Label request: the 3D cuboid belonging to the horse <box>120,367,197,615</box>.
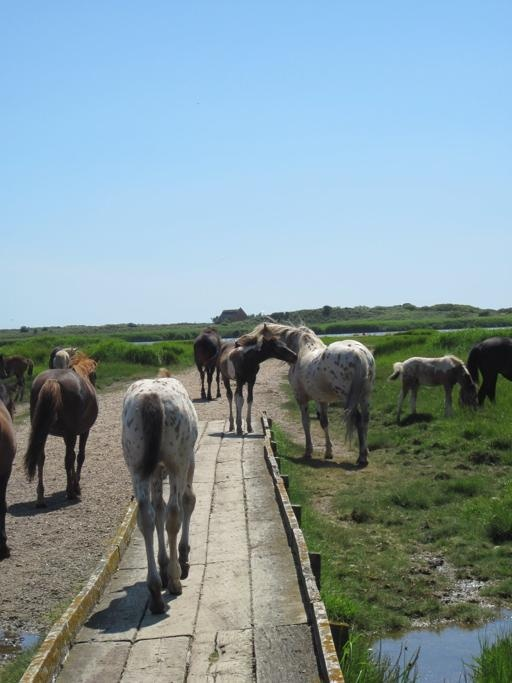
[{"bbox_3d":[-0.806,1.203,4.941,0.590,1.729,1.234,-1,0,-5],"label":"horse"}]
